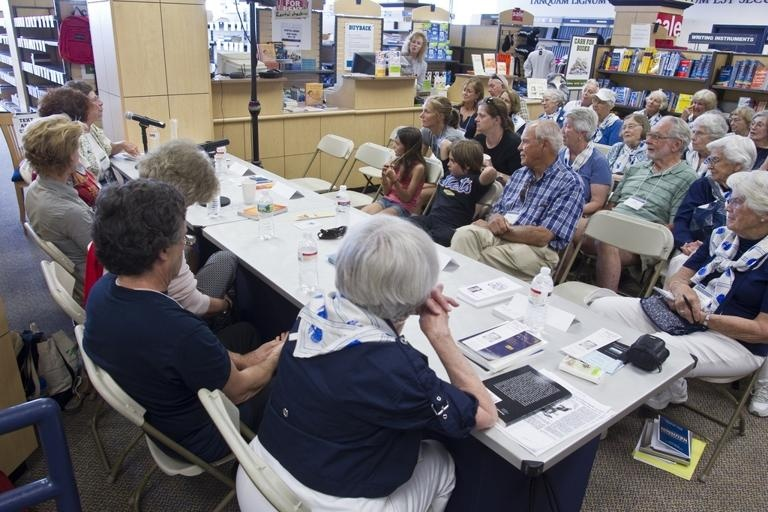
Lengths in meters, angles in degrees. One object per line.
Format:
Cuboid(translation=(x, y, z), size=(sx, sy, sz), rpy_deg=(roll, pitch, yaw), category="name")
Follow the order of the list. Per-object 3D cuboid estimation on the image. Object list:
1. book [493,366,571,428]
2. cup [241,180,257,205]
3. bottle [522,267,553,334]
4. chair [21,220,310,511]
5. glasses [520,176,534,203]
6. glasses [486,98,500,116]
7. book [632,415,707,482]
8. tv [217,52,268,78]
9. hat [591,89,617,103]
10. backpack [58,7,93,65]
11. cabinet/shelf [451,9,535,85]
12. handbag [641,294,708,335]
Cuboid(translation=(0.592, 0.576, 2.118), size=(0.349, 0.079, 0.214), rpy_deg=(-7, 26, -26), category="book")
Cuboid(translation=(-1.004, -0.468, 3.658), size=(0.146, 0.164, 0.116), rpy_deg=(15, 24, 31), category="cup")
Cuboid(translation=(0.762, 0.197, 2.441), size=(0.105, 0.302, 0.195), rpy_deg=(13, 25, 18), category="bottle")
Cuboid(translation=(-1.053, 0.549, 2.366), size=(1.047, 1.467, 0.826), rpy_deg=(-15, 31, -29), category="chair")
Cuboid(translation=(1.090, -0.516, 3.831), size=(0.046, 0.189, 0.104), rpy_deg=(21, -3, -24), category="glasses")
Cuboid(translation=(1.035, -1.422, 4.710), size=(0.049, 0.163, 0.157), rpy_deg=(-11, 13, -33), category="glasses")
Cuboid(translation=(1.655, 1.104, 2.844), size=(0.255, 0.056, 0.260), rpy_deg=(15, 33, 24), category="book")
Cuboid(translation=(-1.756, -2.381, 6.174), size=(0.429, 0.447, 0.574), rpy_deg=(-13, 23, -35), category="tv")
Cuboid(translation=(2.813, -2.019, 6.273), size=(0.295, 0.153, 0.218), rpy_deg=(15, 12, -33), category="hat")
Cuboid(translation=(-3.599, -2.512, 5.761), size=(0.336, 0.544, 0.241), rpy_deg=(-10, 28, -30), category="backpack")
Cuboid(translation=(2.121, -4.279, 9.888), size=(1.237, 1.199, 1.596), rpy_deg=(-11, 28, -32), category="cabinet/shelf")
Cuboid(translation=(1.697, 0.298, 2.957), size=(0.249, 0.094, 0.248), rpy_deg=(-10, 25, -22), category="handbag")
